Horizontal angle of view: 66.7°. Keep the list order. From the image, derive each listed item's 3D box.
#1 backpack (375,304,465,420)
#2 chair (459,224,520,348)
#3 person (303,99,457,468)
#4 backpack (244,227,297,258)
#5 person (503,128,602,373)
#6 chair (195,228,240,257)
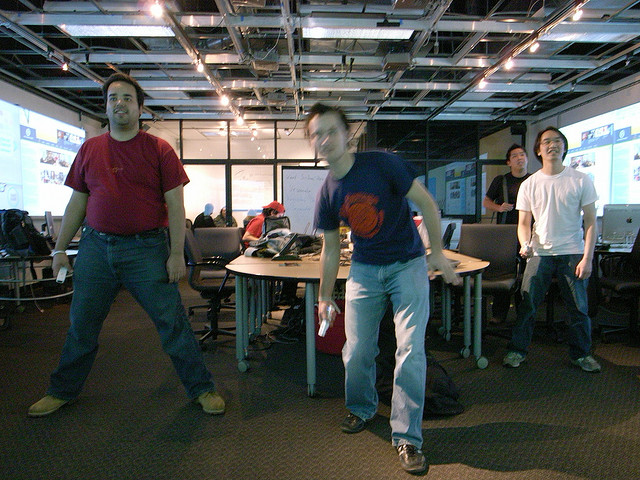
[{"bbox_3d":[0.758,0.964,3.979,0.657,0.258,0.870,1,7,-6],"label":"backpack"},{"bbox_3d":[1.668,0.426,4.983,0.768,1.198,0.868,1,0,44],"label":"chair"},{"bbox_3d":[0.406,0.296,3.342,0.947,2.389,0.382,0,4,14],"label":"person"},{"bbox_3d":[-0.498,0.050,4.964,0.387,0.158,0.329,0,9,5],"label":"backpack"},{"bbox_3d":[2.091,0.091,4.335,0.752,2.147,0.401,1,4,26],"label":"person"},{"bbox_3d":[-1.147,0.038,5.547,0.377,0.450,0.355,0,-1,4],"label":"chair"}]
